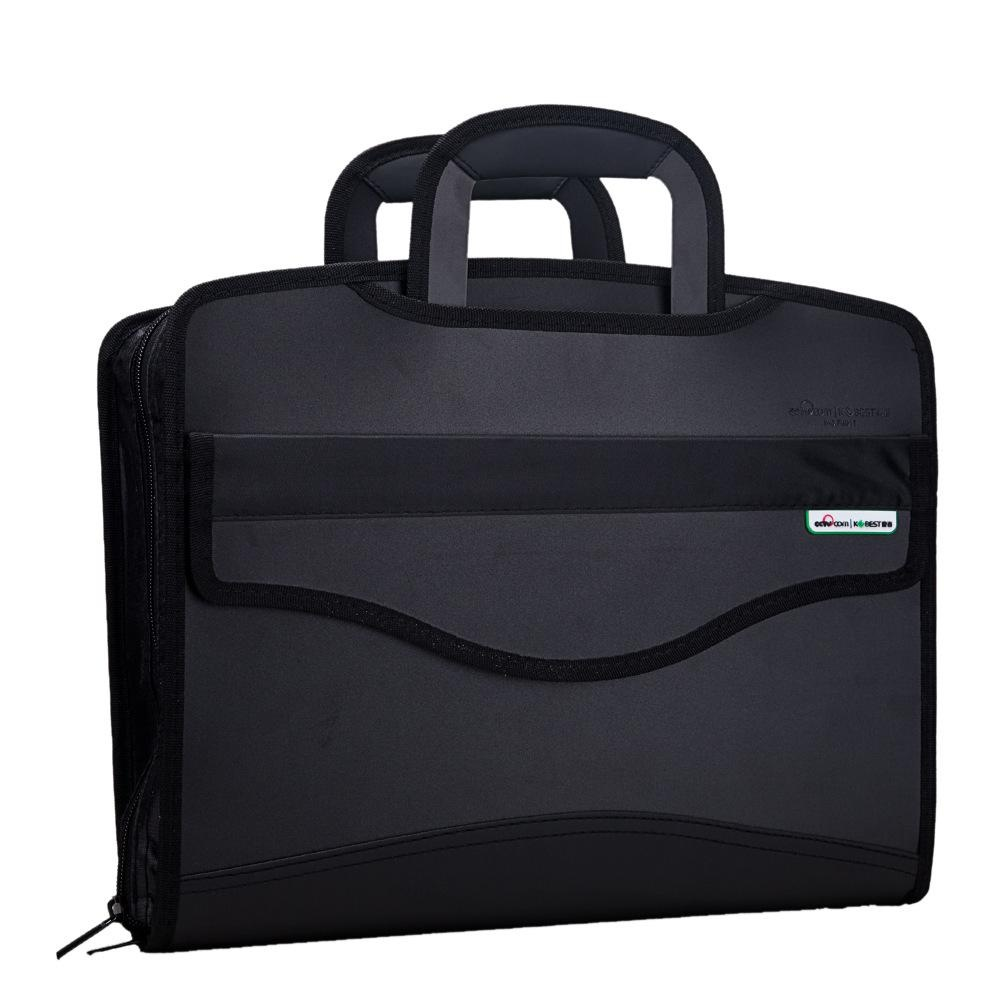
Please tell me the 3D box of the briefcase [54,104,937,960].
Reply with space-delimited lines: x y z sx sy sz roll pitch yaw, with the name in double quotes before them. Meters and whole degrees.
"briefcase" -0.003 0.092 1.844 1.267 0.468 1.008 4 -96 -25
